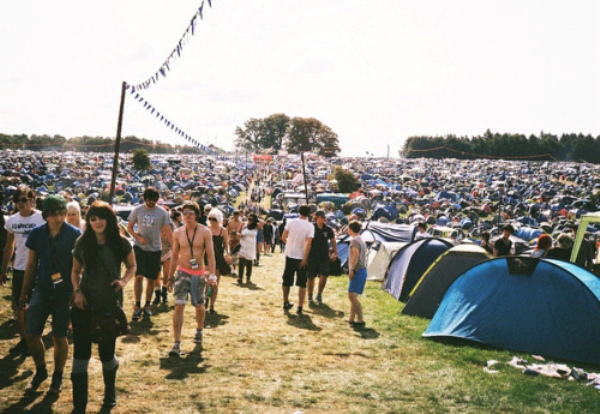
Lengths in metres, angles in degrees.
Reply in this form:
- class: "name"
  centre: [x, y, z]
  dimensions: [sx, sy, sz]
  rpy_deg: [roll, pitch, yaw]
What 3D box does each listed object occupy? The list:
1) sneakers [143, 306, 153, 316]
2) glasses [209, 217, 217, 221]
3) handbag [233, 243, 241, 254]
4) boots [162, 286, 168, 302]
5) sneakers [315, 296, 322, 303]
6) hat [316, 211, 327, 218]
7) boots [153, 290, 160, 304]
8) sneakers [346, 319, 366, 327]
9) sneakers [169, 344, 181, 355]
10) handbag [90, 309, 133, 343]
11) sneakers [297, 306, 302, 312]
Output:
- class: "sneakers"
  centre: [-2.684, 1.828, 8.508]
  dimensions: [0.150, 0.166, 0.203]
  rpy_deg: [1, 7, -19]
- class: "glasses"
  centre: [-1.742, 0.235, 9.604]
  dimensions: [0.172, 0.078, 0.052]
  rpy_deg: [4, 6, 12]
- class: "handbag"
  centre: [-1.504, 0.961, 11.410]
  dimensions: [0.159, 0.272, 0.520]
  rpy_deg: [2, 6, -9]
- class: "boots"
  centre: [-2.665, 1.707, 9.486]
  dimensions: [0.113, 0.251, 0.323]
  rpy_deg: [1, 7, -16]
- class: "sneakers"
  centre: [0.409, 1.950, 10.307]
  dimensions: [0.130, 0.151, 0.266]
  rpy_deg: [3, 6, 2]
- class: "hat"
  centre: [0.411, 0.139, 9.559]
  dimensions: [0.165, 0.089, 0.121]
  rpy_deg: [-19, 22, -37]
- class: "boots"
  centre: [-2.762, 1.713, 9.305]
  dimensions: [0.151, 0.255, 0.274]
  rpy_deg: [1, 7, -17]
- class: "sneakers"
  centre: [1.041, 2.145, 8.908]
  dimensions: [0.285, 0.123, 0.111]
  rpy_deg: [6, -2, 1]
- class: "sneakers"
  centre: [-1.834, 2.052, 7.080]
  dimensions: [0.159, 0.184, 0.131]
  rpy_deg: [0, 7, -22]
- class: "handbag"
  centre: [-2.142, 1.372, 5.529]
  dimensions: [0.409, 0.323, 0.283]
  rpy_deg: [3, -9, -13]
- class: "sneakers"
  centre: [-0.003, 1.972, 9.403]
  dimensions: [0.100, 0.106, 0.163]
  rpy_deg: [2, 6, -7]
